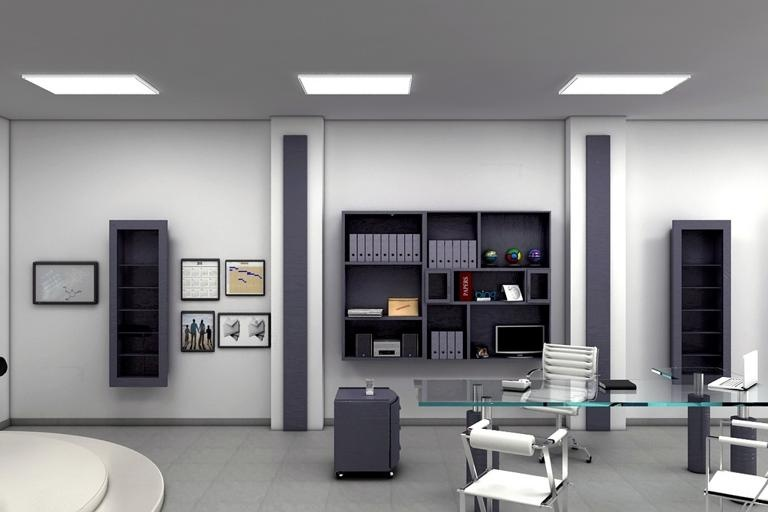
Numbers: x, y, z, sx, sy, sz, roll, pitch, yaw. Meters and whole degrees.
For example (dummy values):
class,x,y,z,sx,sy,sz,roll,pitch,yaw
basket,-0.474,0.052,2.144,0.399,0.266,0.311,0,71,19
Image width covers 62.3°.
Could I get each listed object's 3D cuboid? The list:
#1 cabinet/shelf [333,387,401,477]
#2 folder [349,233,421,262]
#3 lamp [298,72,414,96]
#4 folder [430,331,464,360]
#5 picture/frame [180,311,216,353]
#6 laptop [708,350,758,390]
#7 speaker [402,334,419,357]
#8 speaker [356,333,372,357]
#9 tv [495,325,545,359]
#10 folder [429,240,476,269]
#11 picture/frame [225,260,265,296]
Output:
class,x,y,z,sx,sy,sz,roll,pitch,yaw
cabinet/shelf,-0.187,2.141,7.900,1.016,0.925,0.951,-1,-2,-4
folder,0.017,-0.102,8.716,0.967,0.373,0.155,0,14,1
lamp,-0.358,-2.121,7.893,1.392,0.234,0.607,-1,13,-4
folder,0.857,1.232,8.746,0.425,0.318,0.139,0,-2,-4
picture/frame,-2.640,1.080,8.980,0.661,0.675,0.050,0,-3,-4
laptop,3.965,1.378,7.272,0.474,0.394,0.671,-2,-2,34
speaker,0.352,1.238,8.754,0.303,0.379,0.297,0,-3,-2
speaker,-0.281,1.235,8.757,0.300,0.368,0.291,1,-3,-2
tv,1.880,1.199,8.807,0.507,0.297,0.126,1,-4,-1
folder,0.936,-0.015,8.708,0.646,0.369,0.171,0,14,1
picture/frame,-1.988,0.319,9.010,0.575,0.433,0.056,0,-4,-1
